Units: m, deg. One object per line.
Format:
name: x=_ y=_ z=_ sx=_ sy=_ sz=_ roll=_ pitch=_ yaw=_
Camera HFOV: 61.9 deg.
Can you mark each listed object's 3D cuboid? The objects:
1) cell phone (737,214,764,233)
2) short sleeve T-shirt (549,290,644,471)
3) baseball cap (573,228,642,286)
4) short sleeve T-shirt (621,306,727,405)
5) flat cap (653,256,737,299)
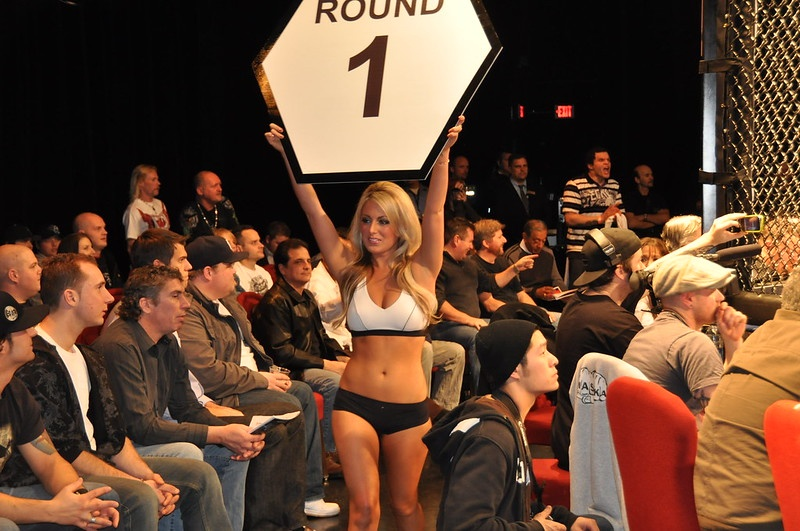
cell phone: x=1.867 y=-0.225 z=3.536 sx=0.107 sy=0.070 sz=0.110 roll=2 pitch=5 yaw=16
short sleeve T-shirt: x=1.294 y=0.720 z=4.330 sx=0.538 sy=1.036 sz=0.831 roll=-10 pitch=5 yaw=-20
baseball cap: x=1.294 y=-0.094 z=4.178 sx=0.406 sy=0.200 sz=0.323 roll=-36 pitch=15 yaw=-6
short sleeve T-shirt: x=1.511 y=0.577 z=3.768 sx=0.401 sy=0.640 sz=0.732 roll=2 pitch=-6 yaw=-4
flat cap: x=1.580 y=0.057 z=3.626 sx=0.318 sy=0.175 sz=0.243 roll=-5 pitch=0 yaw=12
